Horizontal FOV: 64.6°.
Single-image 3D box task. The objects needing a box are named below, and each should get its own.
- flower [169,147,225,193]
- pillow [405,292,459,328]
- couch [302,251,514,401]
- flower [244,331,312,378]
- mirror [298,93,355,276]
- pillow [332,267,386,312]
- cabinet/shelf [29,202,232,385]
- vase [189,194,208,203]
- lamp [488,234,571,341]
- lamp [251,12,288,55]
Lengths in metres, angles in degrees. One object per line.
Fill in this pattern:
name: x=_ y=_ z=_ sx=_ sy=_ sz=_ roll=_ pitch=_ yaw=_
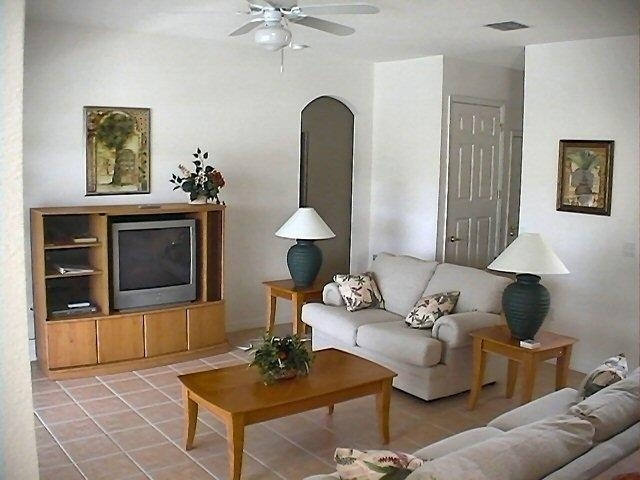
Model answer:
flower: x=-1.266 y=-0.680 z=5.315 sx=0.570 sy=0.467 sz=0.552 roll=1 pitch=16 yaw=12
pillow: x=1.023 y=0.622 z=4.591 sx=0.441 sy=0.316 sz=0.276 roll=-7 pitch=12 yaw=-43
couch: x=0.806 y=0.760 z=4.924 sx=1.136 sy=1.010 sz=1.855 roll=-6 pitch=8 yaw=-38
flower: x=-0.277 y=0.789 z=3.433 sx=0.351 sy=0.202 sz=0.345 roll=-5 pitch=7 yaw=-13
mirror: x=0.087 y=-0.732 z=6.482 sx=0.644 sy=2.487 sz=0.055 roll=1 pitch=-17 yaw=-1
pillow: x=0.392 y=0.503 z=5.109 sx=0.445 sy=0.132 sz=0.441 roll=-4 pitch=52 yaw=-13
cabinet/shelf: x=-1.797 y=0.408 z=4.917 sx=1.747 sy=1.458 sz=0.563 roll=-3 pitch=7 yaw=-39
vase: x=-1.224 y=-0.415 z=5.107 sx=0.109 sy=0.074 sz=0.102 roll=1 pitch=-1 yaw=-11
lamp: x=1.624 y=0.362 z=3.998 sx=0.458 sy=0.833 sz=0.378 roll=-2 pitch=10 yaw=-19
lamp: x=-0.319 y=-1.399 z=3.397 sx=0.287 sy=0.232 sz=0.282 roll=10 pitch=25 yaw=21
